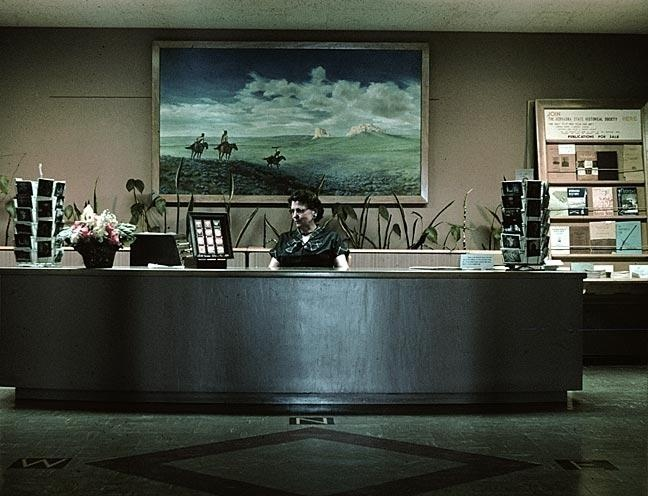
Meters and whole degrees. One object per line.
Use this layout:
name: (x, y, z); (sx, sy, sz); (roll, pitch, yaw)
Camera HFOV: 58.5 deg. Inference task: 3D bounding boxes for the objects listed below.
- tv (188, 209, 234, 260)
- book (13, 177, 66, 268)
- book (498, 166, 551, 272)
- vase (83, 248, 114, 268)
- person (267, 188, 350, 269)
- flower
tv: (-0.841, -0.086, 4.323); (0.325, 0.358, 0.182); (0, 5, -11)
book: (-2.159, -0.202, 4.408); (0.348, 0.646, 0.227); (-1, 5, -24)
book: (1.504, -0.190, 4.345); (0.342, 0.674, 0.205); (2, 5, 19)
vase: (-1.649, 0.054, 4.266); (0.182, 0.081, 0.174); (-3, 5, -31)
person: (-0.116, -0.200, 5.365); (0.795, 0.958, 0.388); (-4, -19, 14)
flower: (-1.708, -0.174, 4.362); (0.594, 0.243, 0.551); (10, -2, 42)
